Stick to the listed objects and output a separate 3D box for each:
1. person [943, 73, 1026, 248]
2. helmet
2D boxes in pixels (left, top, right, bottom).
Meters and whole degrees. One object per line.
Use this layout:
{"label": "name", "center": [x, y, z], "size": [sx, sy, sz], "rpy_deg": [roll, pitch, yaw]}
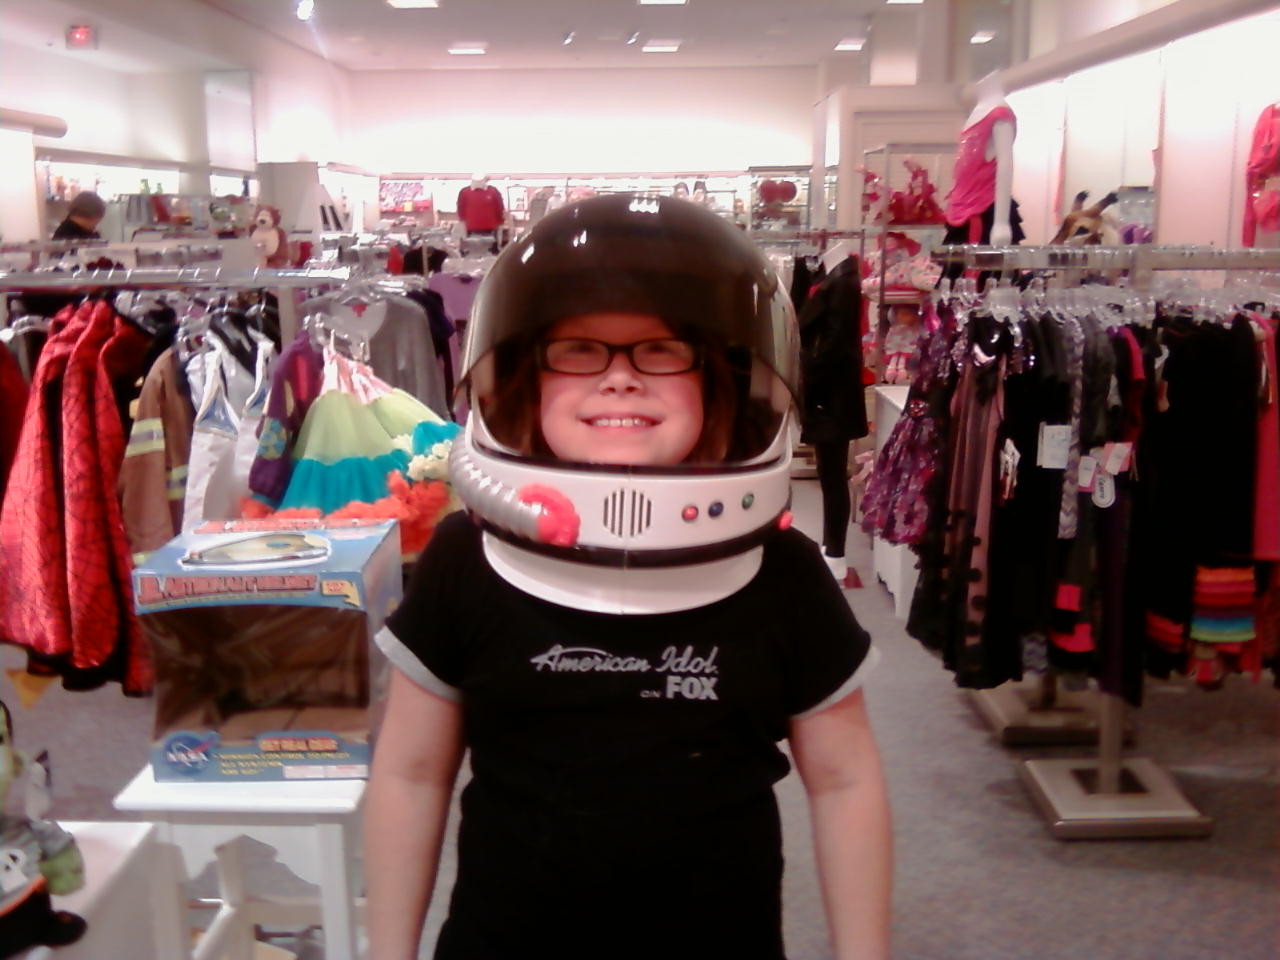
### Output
{"label": "person", "center": [1.285, -1.202, 3.404], "size": [0.287, 0.648, 0.981], "rpy_deg": [6, 17, 21]}
{"label": "helmet", "center": [-0.011, -0.120, 1.046], "size": [0.334, 0.378, 0.428], "rpy_deg": [2, 19, 3]}
